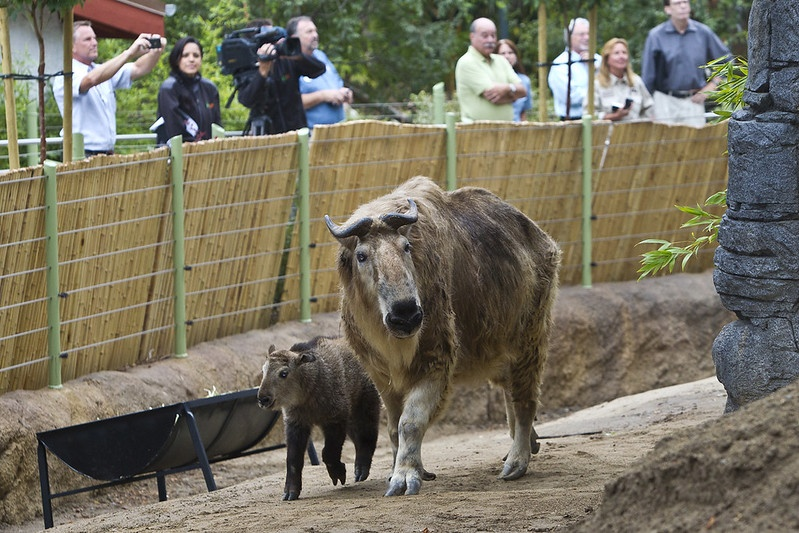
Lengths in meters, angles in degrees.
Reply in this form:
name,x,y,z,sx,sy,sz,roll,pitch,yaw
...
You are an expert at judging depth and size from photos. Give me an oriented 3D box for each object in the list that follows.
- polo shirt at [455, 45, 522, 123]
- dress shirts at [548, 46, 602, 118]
name,x,y,z,sx,sy,sz,roll,pitch,yaw
polo shirt,1.153,-2.450,28.268,0.584,1.097,0.820,11,18,38
dress shirts,2.463,-2.568,28.775,0.962,1.332,0.714,-9,11,-35
